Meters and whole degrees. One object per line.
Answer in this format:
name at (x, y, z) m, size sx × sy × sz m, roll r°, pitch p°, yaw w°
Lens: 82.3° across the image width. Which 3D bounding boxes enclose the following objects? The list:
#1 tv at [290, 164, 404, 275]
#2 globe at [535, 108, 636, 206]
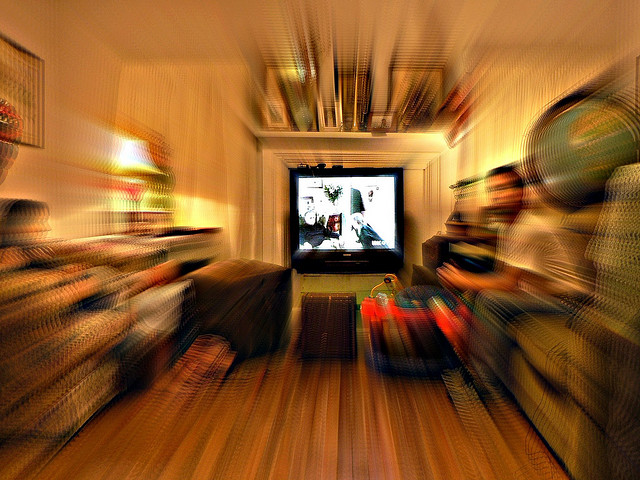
tv at (0.097, -0.088, 1.540) m, size 0.423 × 0.156 × 0.434 m, roll -1°, pitch -88°, yaw -6°
globe at (0.390, -0.113, 0.573) m, size 0.111 × 0.132 × 0.124 m, roll -4°, pitch -86°, yaw 15°
